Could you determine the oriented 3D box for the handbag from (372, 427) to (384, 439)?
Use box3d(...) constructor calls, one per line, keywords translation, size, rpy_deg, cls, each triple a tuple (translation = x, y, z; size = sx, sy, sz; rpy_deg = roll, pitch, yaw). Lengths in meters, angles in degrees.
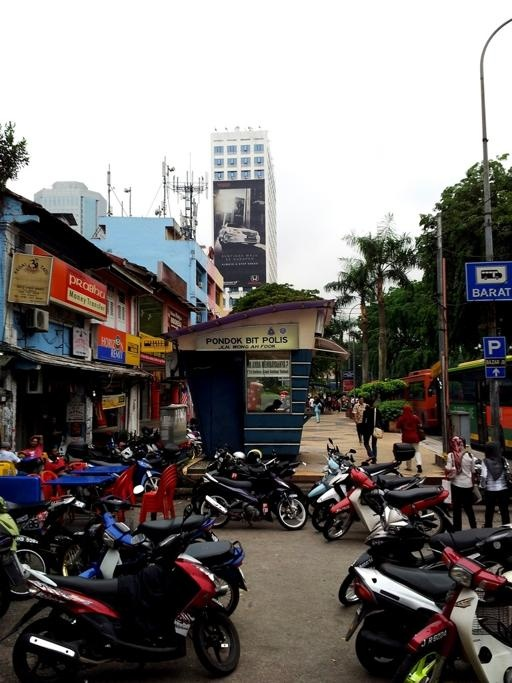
box3d(translation=(2.805, 2.095, 14.796), size=(0.255, 0.216, 0.251), rpy_deg=(-6, -8, 17), cls="handbag")
